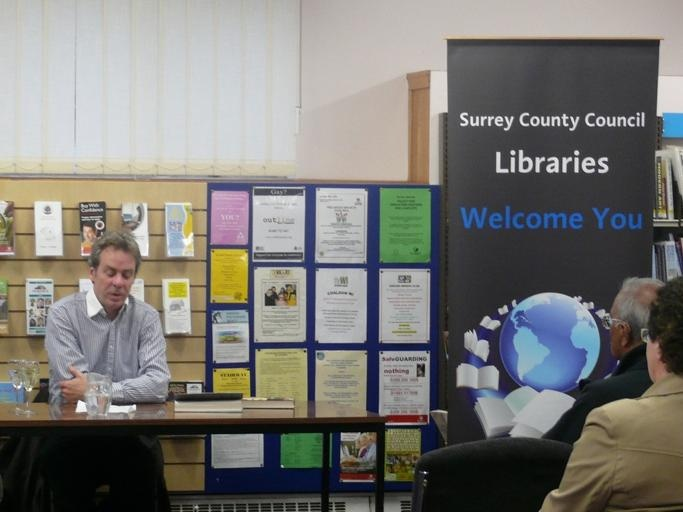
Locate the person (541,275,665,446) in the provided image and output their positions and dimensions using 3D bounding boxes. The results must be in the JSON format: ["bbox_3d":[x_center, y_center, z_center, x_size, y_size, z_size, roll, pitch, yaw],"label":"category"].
[{"bbox_3d":[1.619,0.626,4.815,0.944,0.885,0.483,-2,13,-34],"label":"person"}]

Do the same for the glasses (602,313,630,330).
[{"bbox_3d":[1.715,0.399,5.332,0.141,0.052,0.147,6,-2,8],"label":"glasses"}]

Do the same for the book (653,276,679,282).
[{"bbox_3d":[1.942,0.142,5.091,0.078,0.020,0.078,-1,4,-7],"label":"book"}]

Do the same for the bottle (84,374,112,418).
[{"bbox_3d":[-1.352,0.779,4.742,0.180,0.276,0.188,-1,-2,0],"label":"bottle"}]
